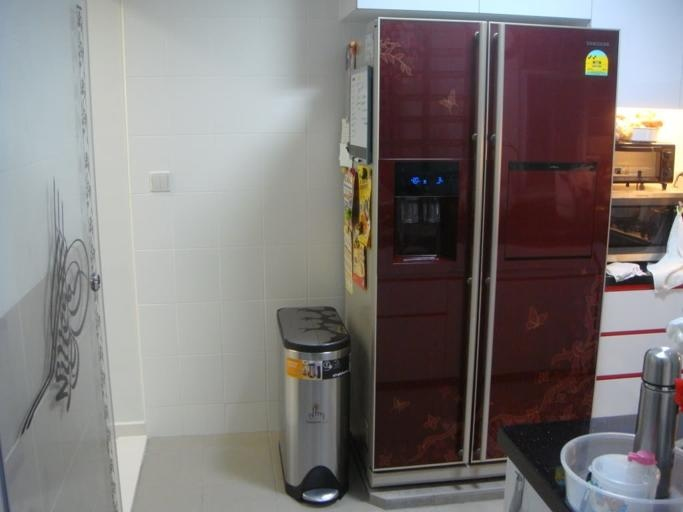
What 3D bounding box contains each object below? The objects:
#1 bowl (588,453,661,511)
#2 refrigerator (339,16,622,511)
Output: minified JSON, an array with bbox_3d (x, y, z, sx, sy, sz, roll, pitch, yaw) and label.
[{"bbox_3d":[0.664,0.521,1.288,0.133,0.154,0.141,-8,11,2],"label":"bowl"},{"bbox_3d":[0.719,0.055,2.780,1.279,2.349,0.379,-5,14,-13],"label":"refrigerator"}]
